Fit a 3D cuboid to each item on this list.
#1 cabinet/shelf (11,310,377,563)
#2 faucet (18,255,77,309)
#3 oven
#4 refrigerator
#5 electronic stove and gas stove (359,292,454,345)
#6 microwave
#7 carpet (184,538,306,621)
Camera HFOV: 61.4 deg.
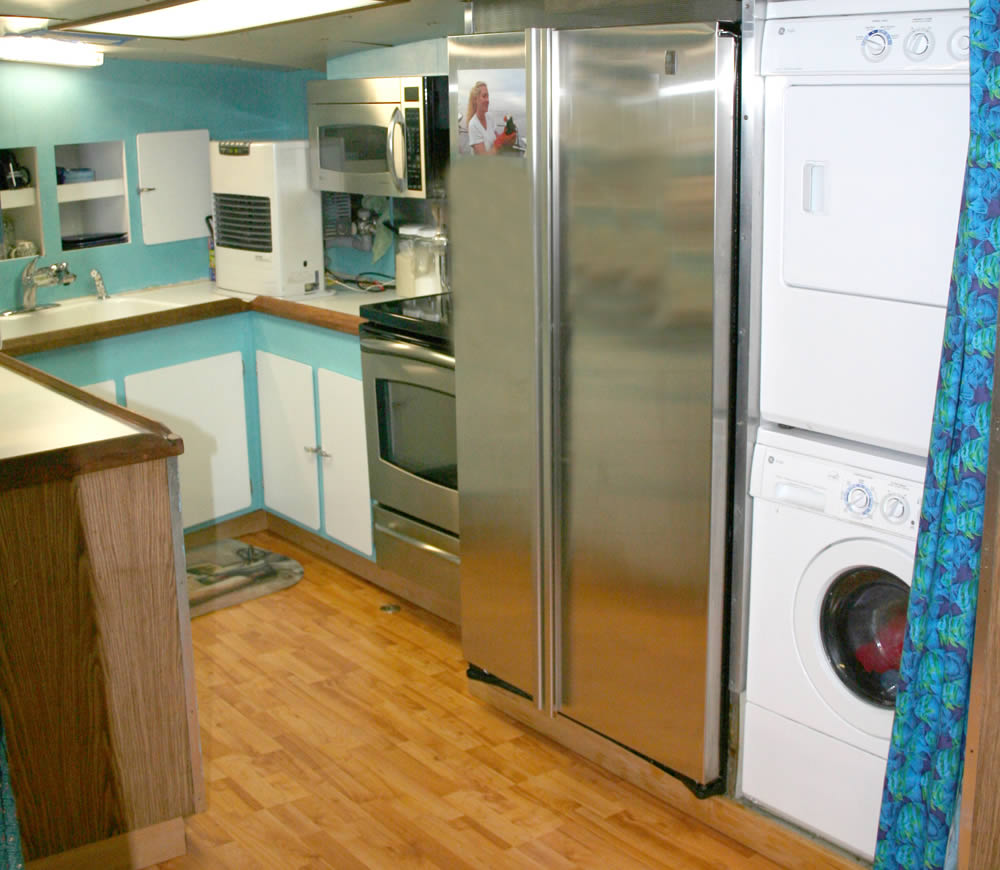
[{"bbox_3d":[-1.187,-0.026,3.345,1.041,0.830,1.060,15,22,41],"label":"cabinet/shelf"},{"bbox_3d":[-1.930,-0.652,3.610,0.250,0.200,0.151,-14,22,-36],"label":"faucet"},{"bbox_3d":[-0.277,0.083,3.119,0.589,0.858,0.532,-7,13,-29],"label":"oven"},{"bbox_3d":[0.370,-0.014,2.281,0.726,1.841,0.666,11,18,40],"label":"refrigerator"},{"bbox_3d":[-0.315,-0.412,2.955,0.262,0.054,0.240,-20,26,-40],"label":"electronic stove and gas stove"},{"bbox_3d":[-0.497,-1.193,3.366,0.159,0.447,0.811,-15,23,-39],"label":"microwave"},{"bbox_3d":[-1.070,0.554,3.517,0.460,0.063,0.544,-9,20,-23],"label":"carpet"}]
